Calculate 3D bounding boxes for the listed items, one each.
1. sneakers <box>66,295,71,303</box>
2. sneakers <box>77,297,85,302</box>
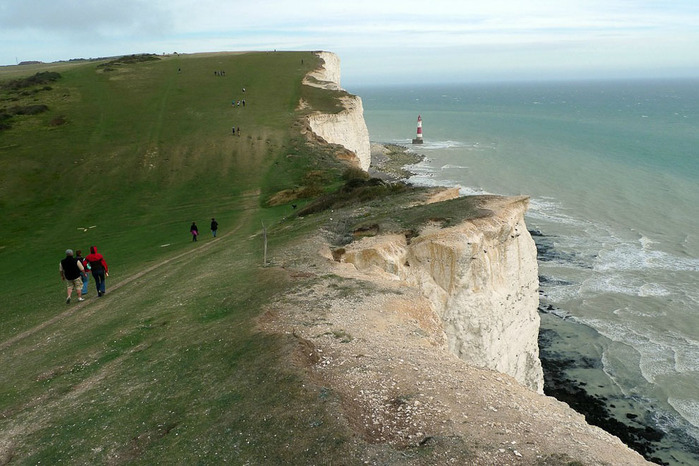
[{"bbox_3d":[-15.402,3.727,27.619,0.270,0.618,0.220,4,64,-19],"label":"sneakers"},{"bbox_3d":[-14.787,3.625,27.606,0.482,0.208,0.146,-5,10,-27],"label":"sneakers"}]
